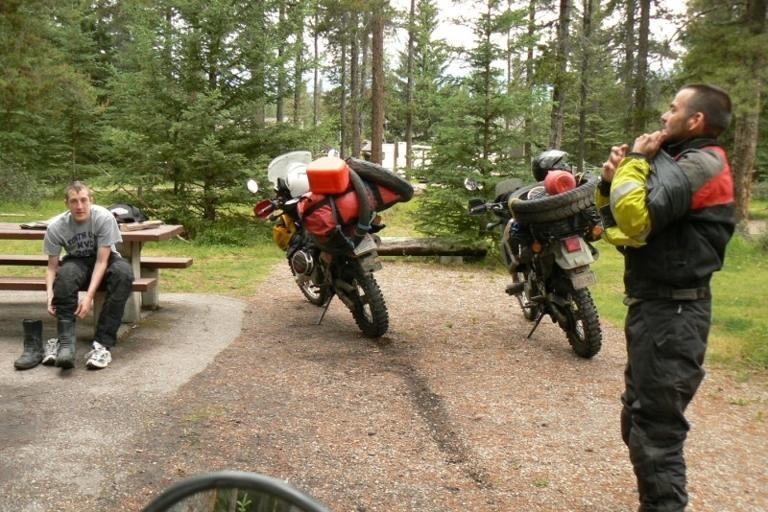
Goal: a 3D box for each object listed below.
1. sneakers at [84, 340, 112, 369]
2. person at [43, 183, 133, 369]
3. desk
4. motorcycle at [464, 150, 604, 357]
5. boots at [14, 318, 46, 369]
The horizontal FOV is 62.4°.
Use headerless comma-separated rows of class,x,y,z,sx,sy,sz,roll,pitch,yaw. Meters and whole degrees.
sneakers,-3.077,1.049,6.781,0.248,0.248,0.294,-5,9,-19
person,-3.316,0.171,6.967,0.969,1.958,1.065,-6,10,-17
desk,-3.404,0.080,8.164,2.298,0.742,1.603,1,7,0
motorcycle,1.907,-0.047,7.953,1.403,2.419,1.626,-2,9,1
boots,-3.820,0.912,6.752,0.304,0.473,0.540,-7,10,-26
